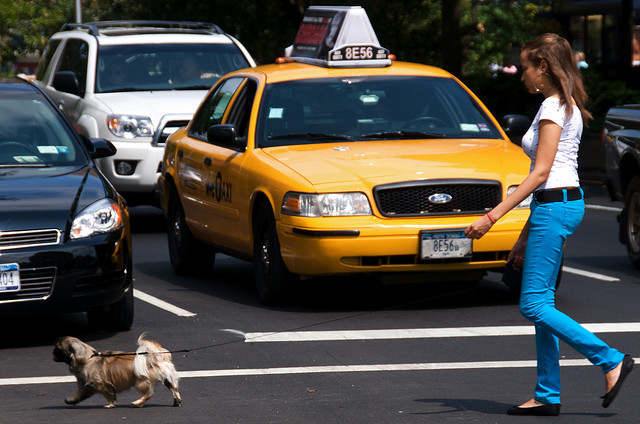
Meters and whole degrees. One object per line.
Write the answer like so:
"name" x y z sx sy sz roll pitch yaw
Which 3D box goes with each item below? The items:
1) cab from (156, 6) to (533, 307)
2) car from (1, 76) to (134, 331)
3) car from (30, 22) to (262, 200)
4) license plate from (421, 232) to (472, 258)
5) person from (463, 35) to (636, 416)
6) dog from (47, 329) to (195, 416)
"cab" 0.199 -0.527 9.493 2.693 1.989 4.263 0 2 -20
"car" -2.379 -0.111 8.114 1.159 2.315 2.206 -3 9 -13
"car" -2.639 -1.868 13.759 2.730 1.899 4.700 -1 5 -21
"license plate" 1.157 0.307 8.083 0.632 0.256 0.083 0 1 -33
"person" 1.517 0.106 5.650 0.942 2.508 0.621 1 9 15
"dog" -1.378 1.079 6.131 1.056 0.580 0.832 0 8 3
